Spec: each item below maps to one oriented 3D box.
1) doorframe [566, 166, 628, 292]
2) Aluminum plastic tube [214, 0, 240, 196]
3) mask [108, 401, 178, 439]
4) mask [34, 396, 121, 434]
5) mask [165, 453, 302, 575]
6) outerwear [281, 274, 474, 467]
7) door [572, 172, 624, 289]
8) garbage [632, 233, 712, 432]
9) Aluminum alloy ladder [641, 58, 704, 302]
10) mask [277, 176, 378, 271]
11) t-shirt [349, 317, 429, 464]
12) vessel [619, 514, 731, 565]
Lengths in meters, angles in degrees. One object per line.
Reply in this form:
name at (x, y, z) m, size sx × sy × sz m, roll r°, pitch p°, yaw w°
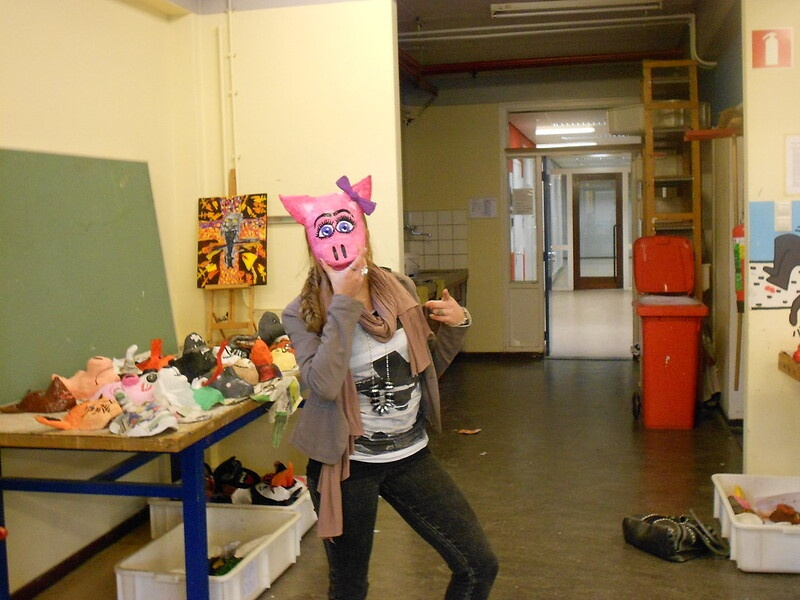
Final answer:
doorframe at (5.420, -1.871, 17.855) m, size 1.375 × 3.528 × 0.237 m, roll 2°, pitch -22°, yaw 15°
Aluminum plastic tube at (-1.166, -1.376, 4.450) m, size 0.118 × 1.300 × 0.146 m, roll 1°, pitch 8°, yaw 34°
mask at (-1.030, 0.487, 2.627) m, size 0.252 × 0.102 × 0.166 m, roll -8°, pitch 8°, yaw -22°
mask at (-1.294, 0.471, 2.696) m, size 0.245 × 0.066 × 0.160 m, roll -2°, pitch 10°, yaw -22°
mask at (-0.838, 1.103, 3.713) m, size 0.574 × 0.218 × 0.611 m, roll 1°, pitch 2°, yaw 10°
outerwear at (-0.085, 0.218, 2.419) m, size 0.690 × 0.796 × 0.507 m, roll -1°, pitch -1°, yaw -38°
door at (5.458, -1.829, 18.185) m, size 1.483 × 3.788 × 0.265 m, roll 0°, pitch 39°, yaw 15°
garbage at (2.211, 0.257, 5.434) m, size 0.547 × 1.572 × 0.574 m, roll -2°, pitch 7°, yaw 19°
Aluminum alloy ladder at (2.673, -1.804, 6.515) m, size 0.588 × 3.340 × 1.364 m, roll 0°, pitch -9°, yaw 20°
mask at (-0.224, -0.250, 2.271) m, size 0.319 × 0.369 × 0.190 m, roll -12°, pitch -4°, yaw -12°
t-shirt at (-0.048, 0.301, 2.137) m, size 0.306 × 0.454 × 0.249 m, roll -14°, pitch -11°, yaw 1°
vessel at (1.459, 1.274, 3.491) m, size 0.279 × 0.112 × 0.284 m, roll -4°, pitch 2°, yaw -23°
